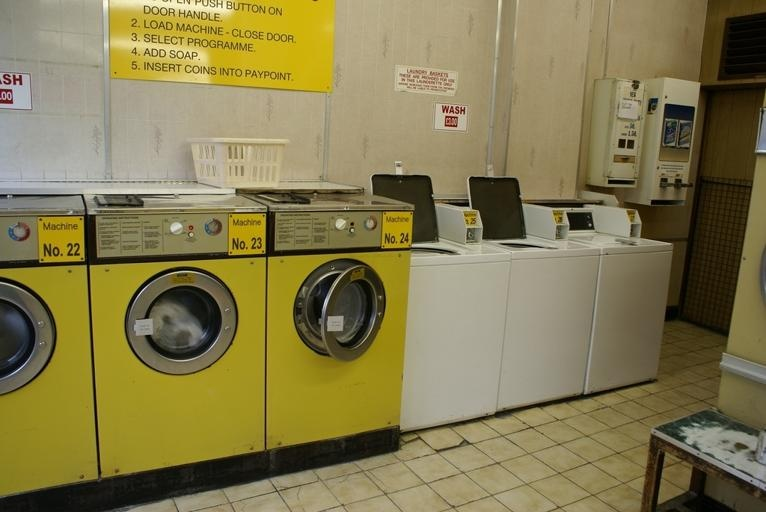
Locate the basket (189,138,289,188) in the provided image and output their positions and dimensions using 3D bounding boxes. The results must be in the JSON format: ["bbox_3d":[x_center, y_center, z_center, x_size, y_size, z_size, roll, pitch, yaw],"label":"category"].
[{"bbox_3d":[-0.990,-0.570,3.753,0.389,0.241,0.501,-3,7,-30],"label":"basket"}]
